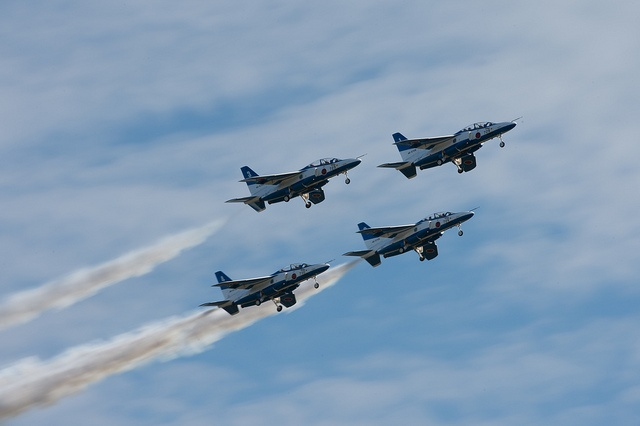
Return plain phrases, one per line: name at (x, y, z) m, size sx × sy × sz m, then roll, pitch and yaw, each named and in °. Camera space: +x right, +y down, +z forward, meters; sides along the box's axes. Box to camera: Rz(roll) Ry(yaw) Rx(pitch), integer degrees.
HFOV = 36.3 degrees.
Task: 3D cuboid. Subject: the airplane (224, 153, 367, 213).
airplane at (-3.551, -4.906, 148.059) m, size 19.013 × 4.360 × 14.507 m, roll -19°, pitch -13°, yaw 12°
